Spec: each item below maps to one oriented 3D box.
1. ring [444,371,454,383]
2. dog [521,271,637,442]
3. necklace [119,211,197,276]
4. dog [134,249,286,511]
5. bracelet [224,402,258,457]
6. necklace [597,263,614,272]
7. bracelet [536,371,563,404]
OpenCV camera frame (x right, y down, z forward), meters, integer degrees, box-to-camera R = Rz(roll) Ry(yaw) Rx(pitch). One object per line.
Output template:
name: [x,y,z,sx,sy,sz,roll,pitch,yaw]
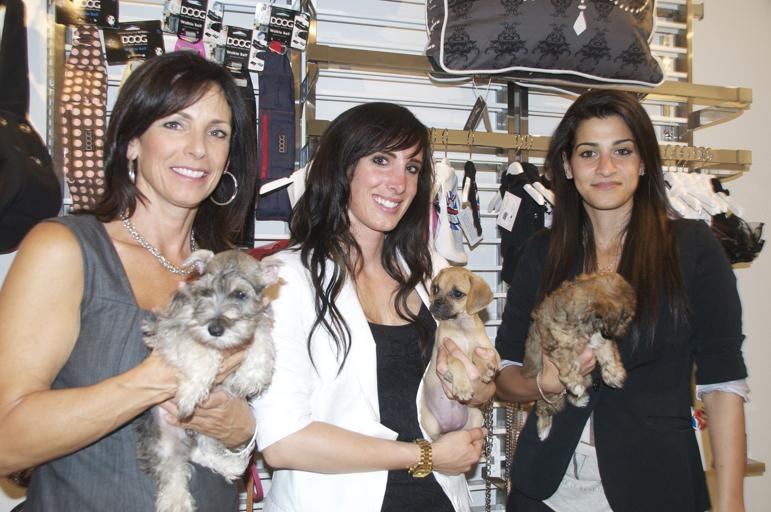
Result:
ring: [0.456,0.852,4.694,0.025,0.070,0.051,8,-41,-46]
dog: [1.410,0.774,4.932,0.736,1.382,0.748,13,39,21]
necklace: [-1.559,-0.042,4.444,0.054,0.470,0.371,-35,-26,24]
dog: [-1.137,0.743,4.374,0.741,1.867,0.777,8,23,-7]
bracelet: [-0.928,1.137,4.358,0.234,0.348,0.120,-2,3,-19]
necklace: [1.658,0.082,4.946,0.071,0.074,0.020,1,-26,25]
bracelet: [1.177,0.978,4.797,0.163,0.234,0.058,-1,20,28]
